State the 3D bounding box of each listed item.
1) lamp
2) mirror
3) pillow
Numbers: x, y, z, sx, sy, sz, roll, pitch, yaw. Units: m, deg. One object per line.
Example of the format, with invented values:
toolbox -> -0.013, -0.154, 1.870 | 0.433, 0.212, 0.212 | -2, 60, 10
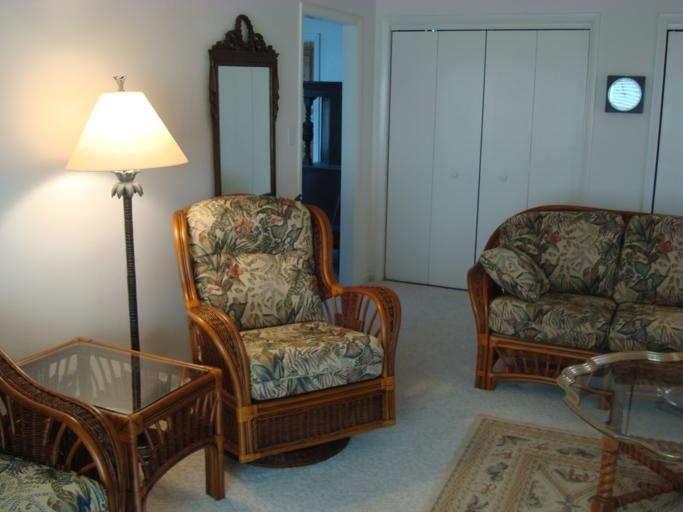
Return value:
lamp -> -1.010, -0.201, 2.758 | 0.525, 1.342, 0.409 | -5, 11, -16
mirror -> -0.636, -0.988, 3.752 | 0.076, 1.167, 0.624 | 5, 13, 34
pillow -> 1.136, 0.102, 3.572 | 0.492, 0.311, 0.346 | -9, 13, -37
